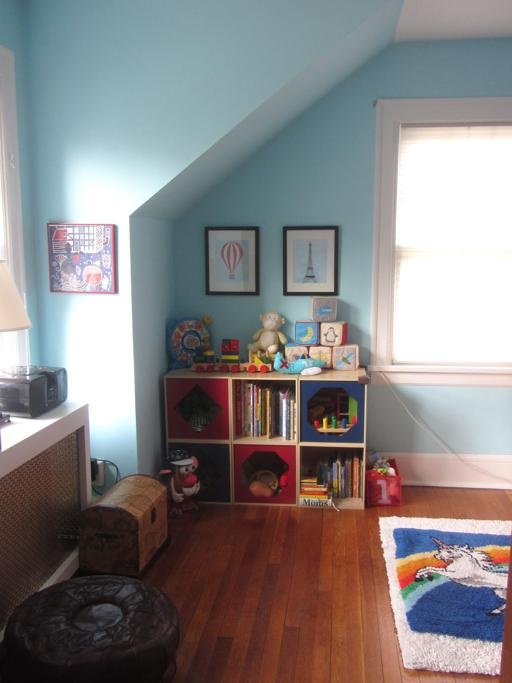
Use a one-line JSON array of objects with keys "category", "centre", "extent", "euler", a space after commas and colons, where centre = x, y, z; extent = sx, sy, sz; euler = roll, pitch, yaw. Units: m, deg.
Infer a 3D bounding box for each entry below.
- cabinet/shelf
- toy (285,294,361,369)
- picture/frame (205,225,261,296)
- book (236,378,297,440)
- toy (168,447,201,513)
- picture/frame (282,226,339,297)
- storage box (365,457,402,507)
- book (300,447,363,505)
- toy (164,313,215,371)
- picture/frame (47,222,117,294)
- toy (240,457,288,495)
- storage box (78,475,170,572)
[{"category": "cabinet/shelf", "centre": [0.050, 0.511, 2.959], "extent": [0.996, 0.685, 0.328], "euler": [1, 4, -2]}, {"category": "toy", "centre": [0.347, -0.039, 2.953], "extent": [0.380, 0.379, 0.191], "euler": [-1, 8, 4]}, {"category": "picture/frame", "centre": [-0.137, -0.451, 3.103], "extent": [0.313, 0.376, 0.014], "euler": [2, 6, 21]}, {"category": "book", "centre": [0.078, 0.323, 3.016], "extent": [0.278, 0.352, 0.349], "euler": [1, 2, 15]}, {"category": "toy", "centre": [-0.339, 0.695, 2.832], "extent": [0.134, 0.313, 0.271], "euler": [3, 9, 25]}, {"category": "picture/frame", "centre": [0.309, -0.454, 3.052], "extent": [0.375, 0.473, 0.021], "euler": [0, 10, 6]}, {"category": "storage box", "centre": [0.662, 0.666, 2.904], "extent": [0.170, 0.223, 0.325], "euler": [-1, 3, 9]}, {"category": "book", "centre": [0.426, 0.695, 2.950], "extent": [0.274, 0.289, 0.097], "euler": [-1, -6, 20]}, {"category": "toy", "centre": [-0.372, 0.012, 3.086], "extent": [0.258, 0.266, 0.078], "euler": [-8, 11, -42]}, {"category": "picture/frame", "centre": [-0.747, -0.377, 2.423], "extent": [0.291, 0.304, 0.024], "euler": [1, 7, 3]}, {"category": "toy", "centre": [0.042, 0.726, 3.063], "extent": [0.196, 0.190, 0.082], "euler": [4, -3, 5]}, {"category": "storage box", "centre": [-0.526, 0.742, 2.263], "extent": [0.257, 0.280, 0.370], "euler": [1, 4, 6]}]
